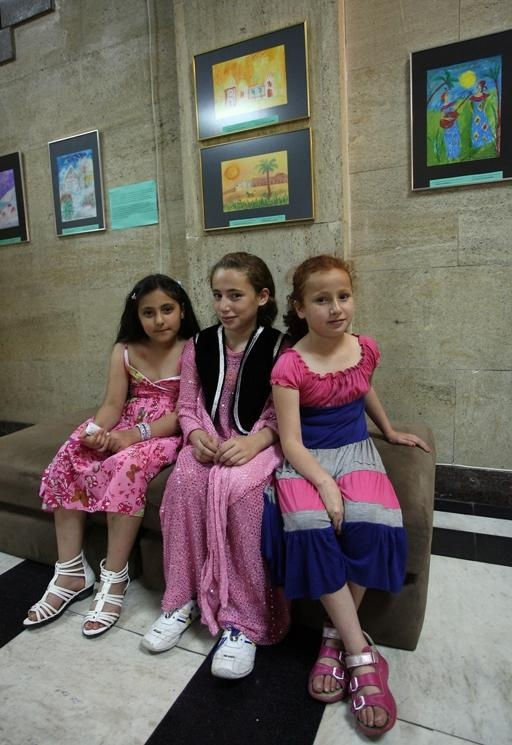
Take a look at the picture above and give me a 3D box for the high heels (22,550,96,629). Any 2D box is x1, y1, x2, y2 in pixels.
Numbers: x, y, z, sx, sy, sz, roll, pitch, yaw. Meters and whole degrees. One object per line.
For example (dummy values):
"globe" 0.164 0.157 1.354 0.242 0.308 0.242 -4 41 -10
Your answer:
"high heels" -0.599 0.645 1.678 0.084 0.137 0.248 1 13 34

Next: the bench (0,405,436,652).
"bench" -0.093 0.575 1.914 1.198 0.326 0.585 7 15 20

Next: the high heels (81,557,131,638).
"high heels" -0.422 0.655 1.582 0.072 0.088 0.216 -2 7 1

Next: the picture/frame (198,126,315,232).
"picture/frame" 0.023 -0.936 2.661 0.544 0.386 0.019 5 17 30

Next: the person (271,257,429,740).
"person" 0.208 0.212 1.479 0.359 1.027 0.783 0 12 12

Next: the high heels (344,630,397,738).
"high heels" 0.240 0.704 1.226 0.065 0.086 0.216 -13 -7 2

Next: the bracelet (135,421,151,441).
"bracelet" -0.370 0.197 1.835 0.049 0.051 0.047 -1 5 -7

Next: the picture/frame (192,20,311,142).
"picture/frame" -0.002 -1.368 2.584 0.630 0.426 0.016 6 18 33

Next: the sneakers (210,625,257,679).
"sneakers" -0.057 0.706 1.391 0.086 0.058 0.115 1 11 14
